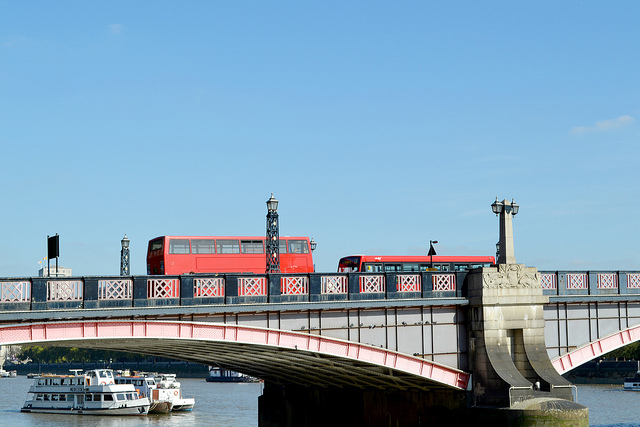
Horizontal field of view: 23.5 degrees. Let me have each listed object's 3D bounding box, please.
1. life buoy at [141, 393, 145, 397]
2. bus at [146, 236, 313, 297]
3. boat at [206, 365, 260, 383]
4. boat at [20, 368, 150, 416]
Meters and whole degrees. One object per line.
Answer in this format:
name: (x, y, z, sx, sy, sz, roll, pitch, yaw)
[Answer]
life buoy: (-17.847, 18.225, 155.041, 0.422, 0.372, 0.212, 1, 3, -3)
bus: (-8.234, 4.490, 127.070, 15.033, 5.427, 5.125, 0, -11, -21)
boat: (-11.808, 21.166, 200.984, 4.384, 2.211, 9.082, 2, -10, -26)
boat: (-23.873, 18.169, 155.520, 11.476, 3.473, 5.457, -3, -6, 23)
